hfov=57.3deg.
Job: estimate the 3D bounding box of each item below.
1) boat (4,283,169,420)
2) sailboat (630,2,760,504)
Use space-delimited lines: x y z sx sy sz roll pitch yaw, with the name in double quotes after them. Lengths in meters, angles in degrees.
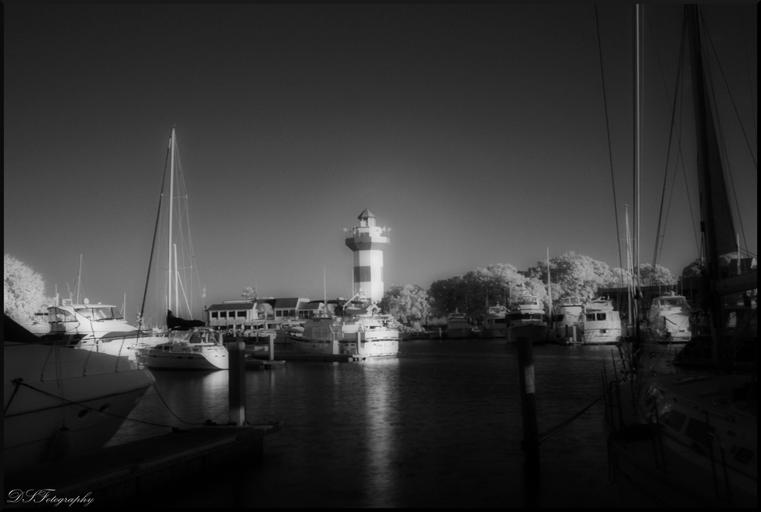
-8.704 3.184 21.508 3.572 2.860 6.490 -4 -9 16 "boat"
9.505 -1.162 20.509 3.172 14.511 8.382 0 -1 17 "sailboat"
